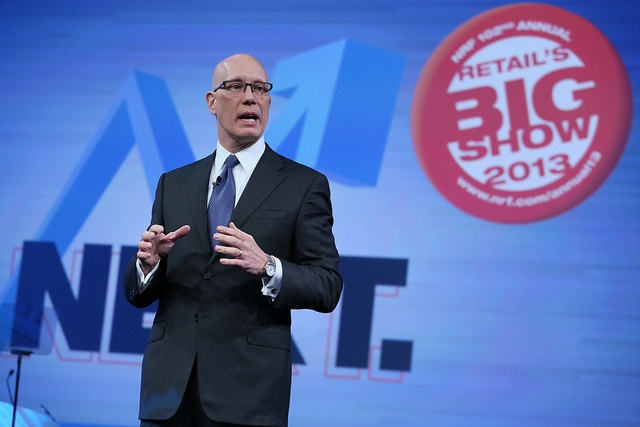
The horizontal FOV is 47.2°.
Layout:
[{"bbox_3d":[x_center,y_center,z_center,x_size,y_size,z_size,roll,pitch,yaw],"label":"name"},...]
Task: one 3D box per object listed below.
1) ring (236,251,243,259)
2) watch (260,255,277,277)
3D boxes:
[{"bbox_3d":[-0.389,0.201,3.522,0.028,0.037,0.038,6,-11,-3],"label":"ring"},{"bbox_3d":[-0.250,0.260,3.563,0.088,0.091,0.021,8,-10,-43],"label":"watch"}]
